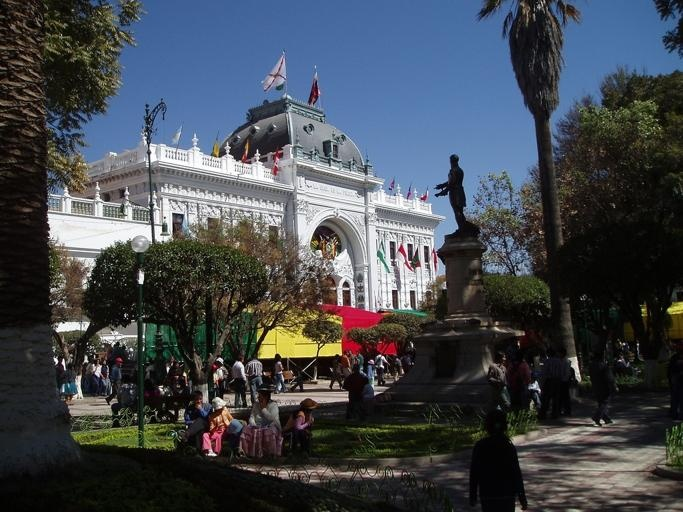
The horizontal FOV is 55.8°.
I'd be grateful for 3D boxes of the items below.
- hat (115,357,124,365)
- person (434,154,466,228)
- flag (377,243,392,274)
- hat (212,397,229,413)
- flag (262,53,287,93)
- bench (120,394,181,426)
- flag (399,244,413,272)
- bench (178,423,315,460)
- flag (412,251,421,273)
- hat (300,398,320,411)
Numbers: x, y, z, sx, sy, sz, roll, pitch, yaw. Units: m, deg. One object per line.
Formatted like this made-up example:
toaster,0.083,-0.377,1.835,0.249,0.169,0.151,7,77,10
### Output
hat,-9.048,4.278,26.197,0.232,0.140,0.363,8,-7,-11
person,3.257,-1.903,18.582,0.875,2.259,1.596,6,0,10
flag,4.313,0.164,64.717,1.498,2.908,6.036,6,1,4
hat,-2.289,2.786,12.045,0.205,0.275,0.458,6,1,-15
flag,-5.281,-15.152,52.826,2.247,0.461,4.964,5,-28,-11
bench,-4.928,3.941,16.462,0.642,0.434,1.180,-6,-10,31
flag,6.899,0.143,69.008,1.847,2.974,4.556,6,1,6
bench,-1.735,3.429,11.615,1.766,0.775,0.611,-1,9,17
flag,8.100,0.443,69.551,0.861,2.224,5.520,6,1,9
hat,-0.589,2.737,11.819,0.255,0.213,0.380,6,1,-11
